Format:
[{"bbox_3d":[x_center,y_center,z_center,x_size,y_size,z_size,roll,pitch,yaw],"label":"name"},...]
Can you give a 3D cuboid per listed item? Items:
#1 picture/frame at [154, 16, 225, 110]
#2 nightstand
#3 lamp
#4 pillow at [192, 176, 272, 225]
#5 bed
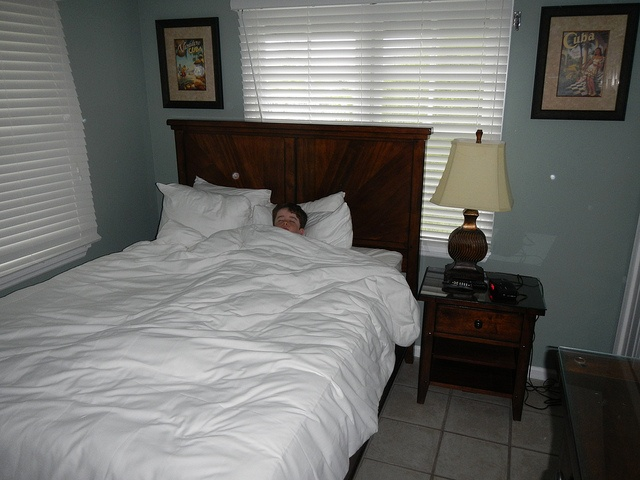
[{"bbox_3d":[-0.976,-1.378,3.388,0.610,0.769,0.033,7,23,20],"label":"picture/frame"},{"bbox_3d":[1.053,0.689,2.987,0.675,0.851,0.626,4,18,15],"label":"nightstand"},{"bbox_3d":[0.915,-0.169,2.710,0.464,0.959,0.272,4,18,5],"label":"lamp"},{"bbox_3d":[-0.496,-0.258,3.240,0.389,0.121,0.405,8,41,1],"label":"pillow"},{"bbox_3d":[-0.664,0.279,4.469,2.566,3.554,1.837,2,12,15],"label":"bed"}]
